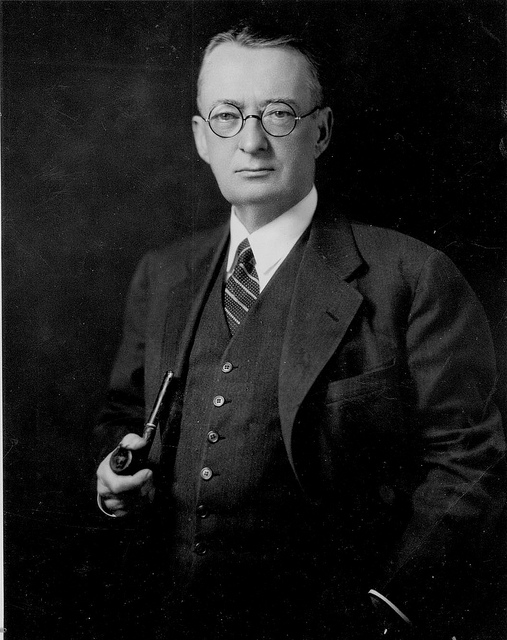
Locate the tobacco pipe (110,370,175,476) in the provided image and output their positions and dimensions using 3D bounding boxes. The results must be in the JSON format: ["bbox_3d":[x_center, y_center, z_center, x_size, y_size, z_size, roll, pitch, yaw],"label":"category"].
[{"bbox_3d":[-0.212,0.227,1.446,0.065,0.318,0.065,11,-3,37],"label":"tobacco pipe"}]

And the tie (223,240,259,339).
[{"bbox_3d":[-0.023,-0.054,1.395,0.075,0.025,0.296,5,43,-2],"label":"tie"}]
